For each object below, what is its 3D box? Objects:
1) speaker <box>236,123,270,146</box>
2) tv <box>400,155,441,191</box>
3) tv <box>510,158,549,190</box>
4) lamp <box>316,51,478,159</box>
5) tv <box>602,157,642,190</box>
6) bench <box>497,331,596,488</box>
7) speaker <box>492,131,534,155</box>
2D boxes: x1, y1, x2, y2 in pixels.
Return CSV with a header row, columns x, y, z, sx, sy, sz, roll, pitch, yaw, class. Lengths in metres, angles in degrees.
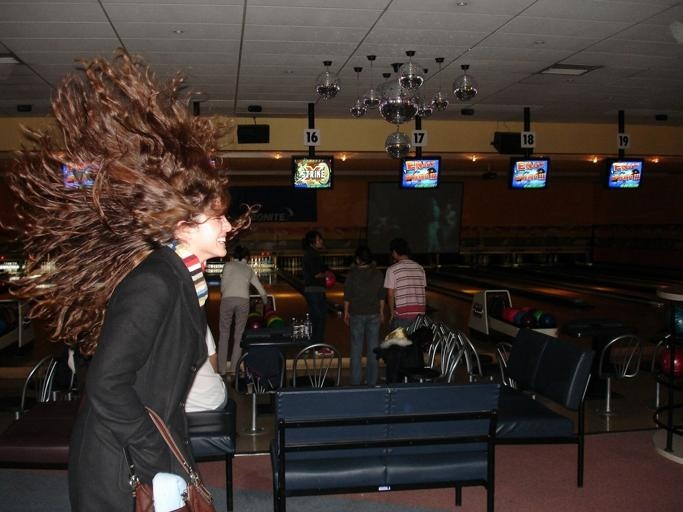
x,y,z,sx,sy,sz,roll,pitch,yaw,class
-1.360,-1.874,8.329,0.626,0.342,0.307,-1,10,-5,speaker
1.187,-1.294,8.291,0.909,0.569,0.111,0,14,-4,tv
2.932,-1.320,8.540,0.592,0.429,0.074,0,7,-3,tv
0.753,-1.619,5.628,1.354,0.702,1.250,-1,-3,-3,lamp
4.679,-1.373,8.981,0.827,0.449,0.286,-1,6,-26,tv
1.454,1.129,3.878,0.688,0.636,1.058,-1,0,3,bench
2.667,-1.800,8.559,0.735,0.338,0.480,1,7,-8,speaker
